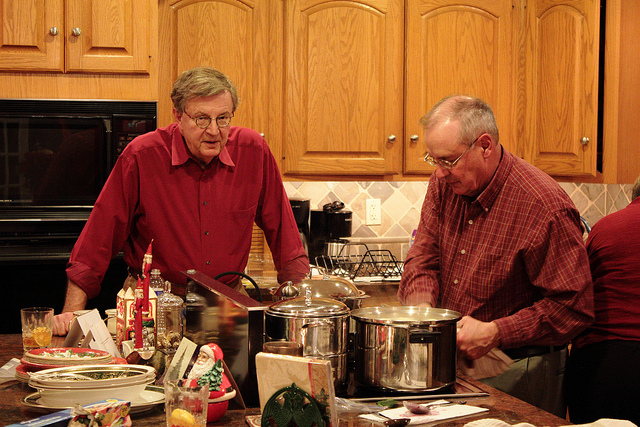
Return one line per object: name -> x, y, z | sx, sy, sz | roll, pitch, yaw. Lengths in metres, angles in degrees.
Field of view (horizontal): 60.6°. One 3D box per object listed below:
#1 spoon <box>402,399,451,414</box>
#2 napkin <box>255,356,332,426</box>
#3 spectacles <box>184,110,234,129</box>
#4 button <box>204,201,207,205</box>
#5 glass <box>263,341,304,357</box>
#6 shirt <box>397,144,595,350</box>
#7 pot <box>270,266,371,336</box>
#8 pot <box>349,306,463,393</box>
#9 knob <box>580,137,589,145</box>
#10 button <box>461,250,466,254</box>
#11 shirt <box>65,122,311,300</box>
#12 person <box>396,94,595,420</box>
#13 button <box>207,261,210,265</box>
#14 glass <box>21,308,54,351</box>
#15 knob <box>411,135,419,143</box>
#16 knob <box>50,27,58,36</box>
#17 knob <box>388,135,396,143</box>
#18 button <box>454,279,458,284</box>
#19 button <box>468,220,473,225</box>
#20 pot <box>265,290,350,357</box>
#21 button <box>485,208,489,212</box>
spoon -> 0.304, 0.536, 1.541 | 0.106, 0.020, 0.051 | -3, 2, -30
napkin -> -0.061, 0.423, 1.305 | 0.179, 0.170, 0.025 | 1, 8, 26
spectacles -> -0.457, -0.381, 2.206 | 0.182, 0.079, 0.059 | -2, -1, -14
button -> -0.513, -0.046, 2.424 | 0.016, 0.018, 0.016 | 0, 2, -9
glass -> -0.098, 0.359, 1.467 | 0.060, 0.043, 0.059 | 1, 0, -16
shirt -> 0.720, 0.186, 2.326 | 0.668, 0.833, 0.949 | -5, 5, -28
pot -> 0.012, 0.269, 1.926 | 0.291, 0.206, 0.245 | 0, 0, 1
pot -> 0.277, 0.433, 1.784 | 0.345, 0.228, 0.473 | 3, -2, -13
knob -> 1.833, -0.504, 3.793 | 0.069, 0.063, 0.040 | -8, 32, 28
button -> 0.586, 0.157, 2.242 | 0.014, 0.014, 0.004 | -2, -16, 18
shirt -> -0.608, 0.000, 2.530 | 1.145, 0.792, 0.354 | -1, 20, -15
person -> 0.696, 0.182, 2.245 | 0.683, 0.999, 0.457 | -2, -1, -6
button -> -0.502, 0.219, 2.433 | 0.011, 0.013, 0.011 | 3, -38, -47
glass -> -0.980, 0.403, 1.873 | 0.115, 0.135, 0.116 | -1, -8, -33
knob -> 0.626, -0.497, 3.631 | 0.042, 0.041, 0.015 | 4, 3, -20
knob -> -1.548, -1.055, 3.166 | 0.037, 0.041, 0.034 | -3, -2, 37
knob -> 0.471, -0.493, 3.601 | 0.051, 0.032, 0.032 | -2, -1, 2
button -> 0.559, 0.280, 2.254 | 0.018, 0.018, 0.005 | 0, -1, 40
button -> 0.616, 0.035, 2.239 | 0.015, 0.015, 0.004 | 1, -9, 16
pot -> -0.039, 0.346, 1.671 | 0.256, 0.192, 0.260 | -3, -3, 0
button -> 0.667, -0.016, 2.191 | 0.013, 0.013, 0.003 | 15, 4, 11
